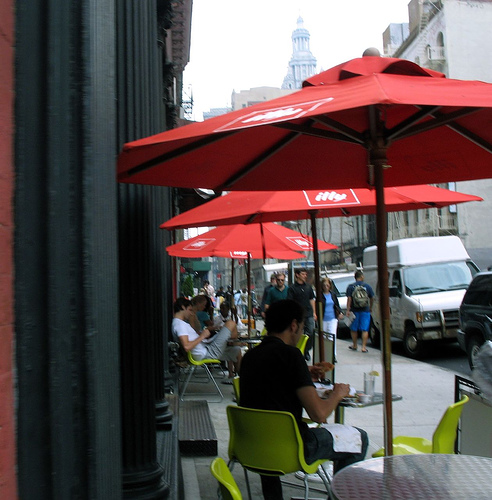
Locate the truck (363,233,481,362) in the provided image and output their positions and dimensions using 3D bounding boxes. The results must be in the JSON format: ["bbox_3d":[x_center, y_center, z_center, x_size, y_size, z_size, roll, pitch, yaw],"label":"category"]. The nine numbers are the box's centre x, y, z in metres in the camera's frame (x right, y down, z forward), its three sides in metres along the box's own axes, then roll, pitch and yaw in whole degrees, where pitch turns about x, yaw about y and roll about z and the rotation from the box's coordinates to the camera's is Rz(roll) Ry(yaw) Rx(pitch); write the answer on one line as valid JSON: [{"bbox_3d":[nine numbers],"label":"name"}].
[{"bbox_3d":[4.938,1.274,16.081,3.415,2.693,5.073,0,-4,-18],"label":"truck"}]

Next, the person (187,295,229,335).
[{"bbox_3d":[-0.656,1.276,11.519,1.059,0.870,0.584,-5,-1,-6],"label":"person"}]

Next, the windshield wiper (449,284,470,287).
[{"bbox_3d":[5.267,0.886,14.062,0.343,0.029,0.052,-1,39,0],"label":"windshield wiper"}]

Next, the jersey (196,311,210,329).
[{"bbox_3d":[-0.923,1.393,11.850,0.301,0.419,0.491,-7,2,-4],"label":"jersey"}]

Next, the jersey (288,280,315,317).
[{"bbox_3d":[1.200,1.096,12.447,0.790,0.818,0.325,-8,5,-31],"label":"jersey"}]

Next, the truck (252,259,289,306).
[{"bbox_3d":[1.904,2.008,34.855,2.126,2.563,1.904,5,-3,-1],"label":"truck"}]

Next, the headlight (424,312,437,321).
[{"bbox_3d":[4.415,1.595,13.572,0.252,0.094,0.167,-1,1,-1],"label":"headlight"}]
